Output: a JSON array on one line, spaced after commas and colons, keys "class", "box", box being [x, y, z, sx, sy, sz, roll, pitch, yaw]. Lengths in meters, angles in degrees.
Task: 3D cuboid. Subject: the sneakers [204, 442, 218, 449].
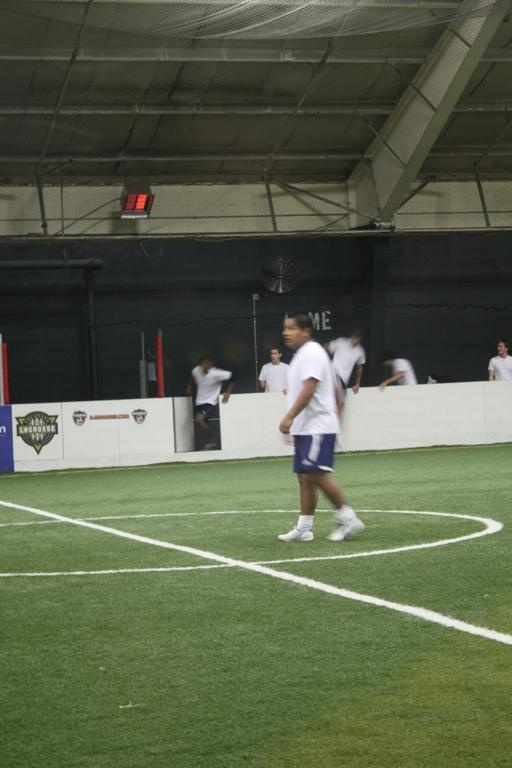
[{"class": "sneakers", "box": [-0.579, 0.779, 14.844, 0.071, 0.075, 0.191, 2, 0, -14]}]

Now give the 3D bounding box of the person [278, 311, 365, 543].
[{"class": "person", "box": [0.350, 0.255, 6.772, 0.488, 1.343, 0.557, -2, 2, 0]}]

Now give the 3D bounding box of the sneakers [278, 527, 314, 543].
[{"class": "sneakers", "box": [0.240, 0.888, 6.898, 0.220, 0.090, 0.078, 2, -5, 1]}]
